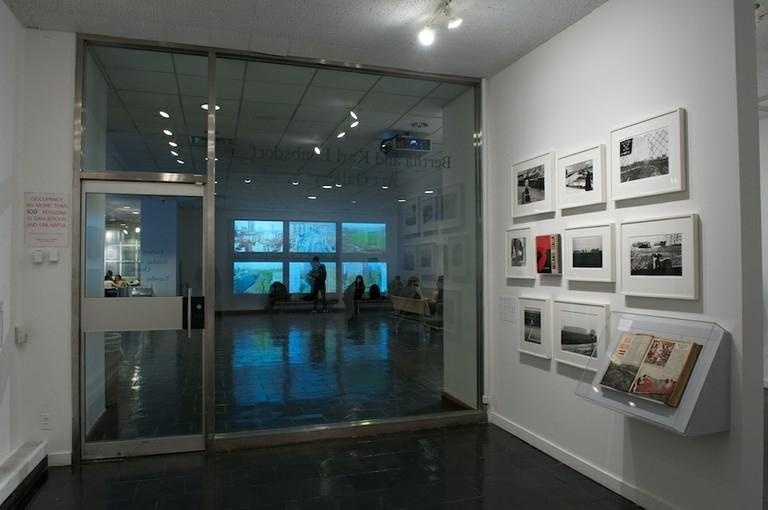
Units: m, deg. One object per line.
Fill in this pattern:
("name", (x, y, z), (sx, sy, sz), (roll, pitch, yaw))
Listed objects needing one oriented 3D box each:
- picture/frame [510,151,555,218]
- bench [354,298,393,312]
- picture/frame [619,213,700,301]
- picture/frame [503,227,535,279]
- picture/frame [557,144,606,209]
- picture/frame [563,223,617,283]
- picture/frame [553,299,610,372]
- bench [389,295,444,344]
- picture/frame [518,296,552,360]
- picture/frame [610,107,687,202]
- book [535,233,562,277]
("picture/frame", (1.761, -0.817, 6.184), (0.077, 0.775, 0.742), (3, -10, -23))
("bench", (-0.133, 0.652, 6.762), (0.460, 0.177, 0.034), (-1, 0, -14))
("picture/frame", (2.553, 0.020, 4.840), (0.106, 1.010, 0.833), (3, -2, -35))
("picture/frame", (1.651, -0.019, 6.393), (0.107, 0.759, 0.564), (4, -8, -20))
("picture/frame", (2.108, -0.824, 5.585), (0.079, 0.623, 0.725), (-1, 3, -23))
("picture/frame", (2.150, -0.017, 5.465), (0.082, 0.550, 0.616), (0, -2, -26))
("picture/frame", (2.090, 0.845, 5.532), (0.108, 0.663, 0.773), (3, 6, -25))
("bench", (0.460, 0.811, 7.108), (0.472, 0.533, 0.799), (0, -1, -26))
("picture/frame", (1.755, 0.833, 6.152), (0.094, 0.676, 0.520), (-1, 0, -23))
("picture/frame", (2.504, -0.928, 4.947), (0.132, 1.014, 0.868), (3, -8, -31))
("book", (1.858, 0.002, 5.995), (0.075, 0.442, 0.377), (-1, 0, -26))
